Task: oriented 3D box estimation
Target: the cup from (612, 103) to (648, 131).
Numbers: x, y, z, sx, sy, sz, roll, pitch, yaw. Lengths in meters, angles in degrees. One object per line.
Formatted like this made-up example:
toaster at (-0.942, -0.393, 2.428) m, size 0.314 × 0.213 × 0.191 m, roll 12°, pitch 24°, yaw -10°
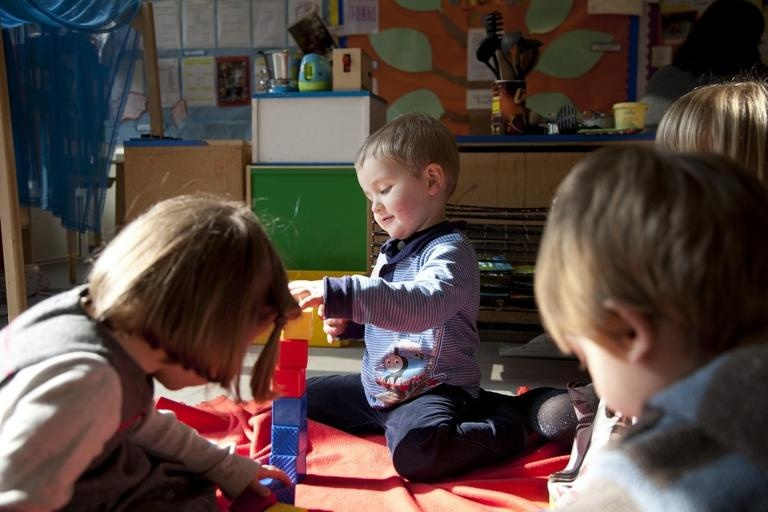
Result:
cup at (0.992, -0.538, 2.533) m, size 0.119 × 0.090 × 0.128 m, roll 0°, pitch 0°, yaw 0°

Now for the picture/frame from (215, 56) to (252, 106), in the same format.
picture/frame at (-1.018, -1.176, 4.247) m, size 0.313 × 0.356 × 0.107 m, roll -1°, pitch 9°, yaw 10°

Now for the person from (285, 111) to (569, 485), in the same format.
person at (0.127, 0.092, 1.757) m, size 0.919 × 0.874 × 0.714 m, roll 2°, pitch 2°, yaw -21°
